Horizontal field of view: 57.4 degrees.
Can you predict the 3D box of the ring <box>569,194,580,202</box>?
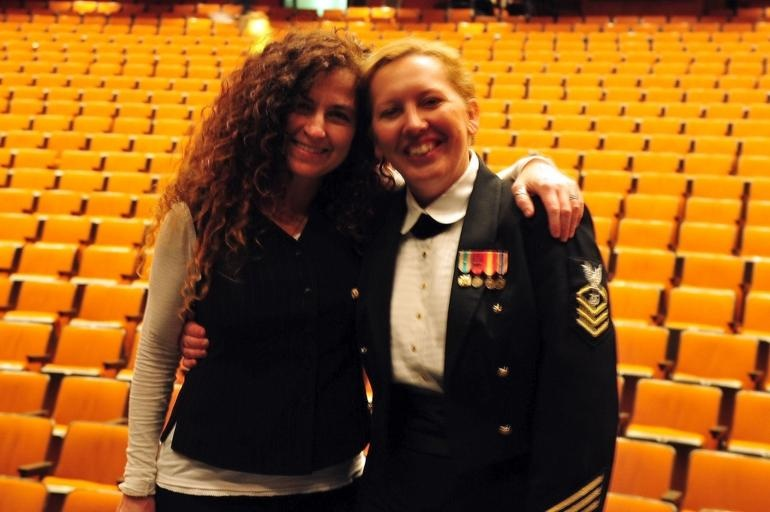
[{"bbox_3d":[0.728,-0.224,2.699,0.026,0.013,0.033,11,-10,-19],"label":"ring"}]
